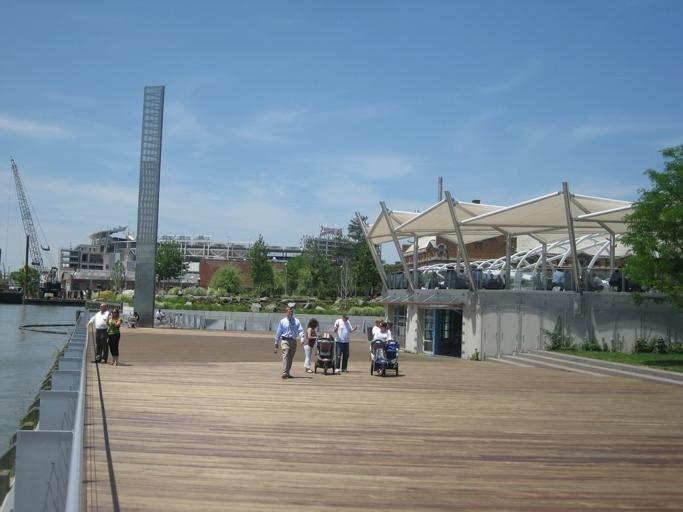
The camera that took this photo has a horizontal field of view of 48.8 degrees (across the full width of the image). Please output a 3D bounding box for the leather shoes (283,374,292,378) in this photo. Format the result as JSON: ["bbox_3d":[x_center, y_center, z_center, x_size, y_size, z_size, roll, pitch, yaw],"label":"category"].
[{"bbox_3d":[-1.508,3.335,20.850,0.253,0.120,0.088,-12,-27,8],"label":"leather shoes"}]

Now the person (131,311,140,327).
[{"bbox_3d":[-13.238,4.072,48.597,0.384,1.013,1.707,1,-1,-15],"label":"person"}]

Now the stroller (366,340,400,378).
[{"bbox_3d":[1.348,3.043,22.627,0.783,1.120,1.101,2,2,-9],"label":"stroller"}]
